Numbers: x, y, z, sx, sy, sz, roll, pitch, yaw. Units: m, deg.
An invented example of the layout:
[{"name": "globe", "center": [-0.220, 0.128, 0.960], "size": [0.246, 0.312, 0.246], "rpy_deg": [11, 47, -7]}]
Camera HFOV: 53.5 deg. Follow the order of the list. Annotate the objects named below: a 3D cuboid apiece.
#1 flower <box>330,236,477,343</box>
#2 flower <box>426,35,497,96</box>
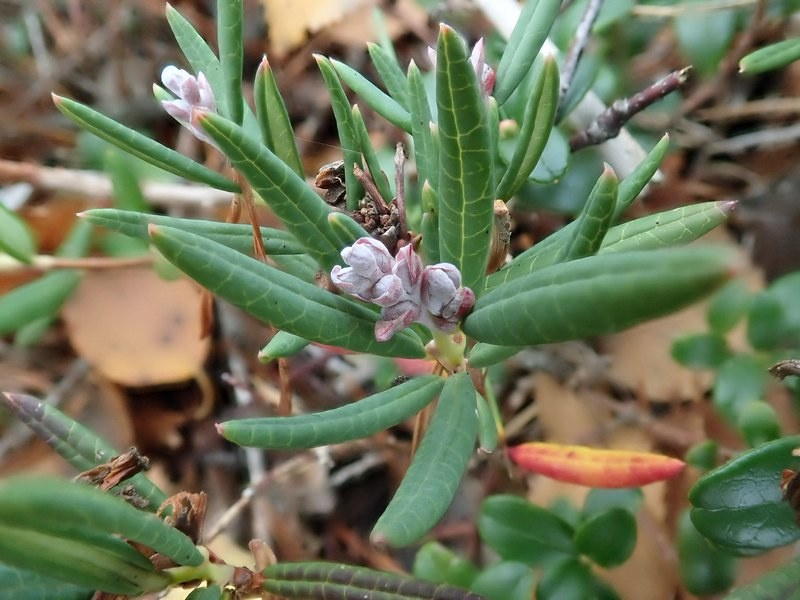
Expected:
[{"name": "flower", "center": [0.000, -0.031, 1.225], "size": [0.186, 0.156, 0.096], "rpy_deg": [-1, 36, -39]}, {"name": "flower", "center": [0.109, -0.360, 1.280], "size": [0.093, 0.121, 0.059], "rpy_deg": [-11, 48, 8]}]
